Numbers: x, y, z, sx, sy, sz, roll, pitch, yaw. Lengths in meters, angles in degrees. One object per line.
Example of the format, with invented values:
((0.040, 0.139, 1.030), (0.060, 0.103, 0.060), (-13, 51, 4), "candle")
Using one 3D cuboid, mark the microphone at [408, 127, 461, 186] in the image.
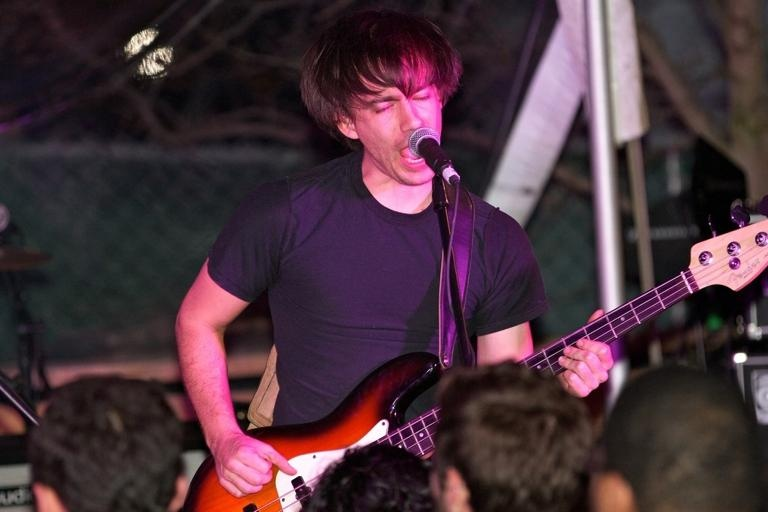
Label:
((0.218, -0.447, 3.706), (0.128, 0.110, 0.356), (9, 25, -25), "microphone")
